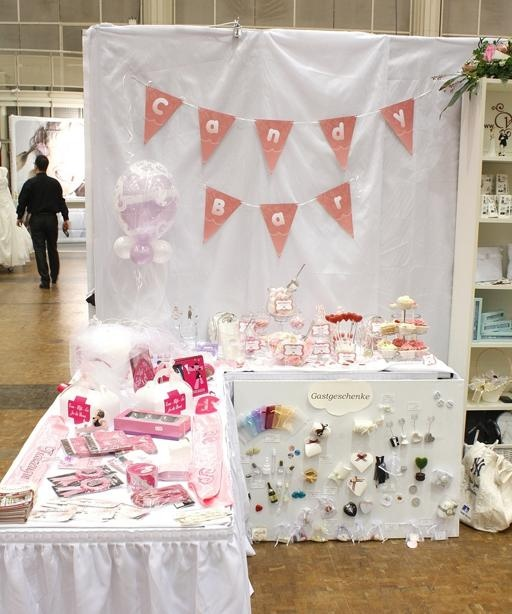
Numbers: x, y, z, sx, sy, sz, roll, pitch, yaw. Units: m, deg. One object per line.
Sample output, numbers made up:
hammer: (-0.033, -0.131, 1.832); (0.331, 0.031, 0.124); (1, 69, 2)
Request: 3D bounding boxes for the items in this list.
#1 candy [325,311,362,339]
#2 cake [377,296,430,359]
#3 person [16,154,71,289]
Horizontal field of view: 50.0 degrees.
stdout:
candy: (0.431, 0.092, 2.660); (0.143, 0.167, 0.152); (-2, 9, -1)
cake: (0.687, 0.109, 2.585); (0.263, 0.309, 0.291); (0, 8, 2)
person: (-2.790, -1.086, 7.190); (0.598, 1.732, 0.701); (-5, 14, -25)
